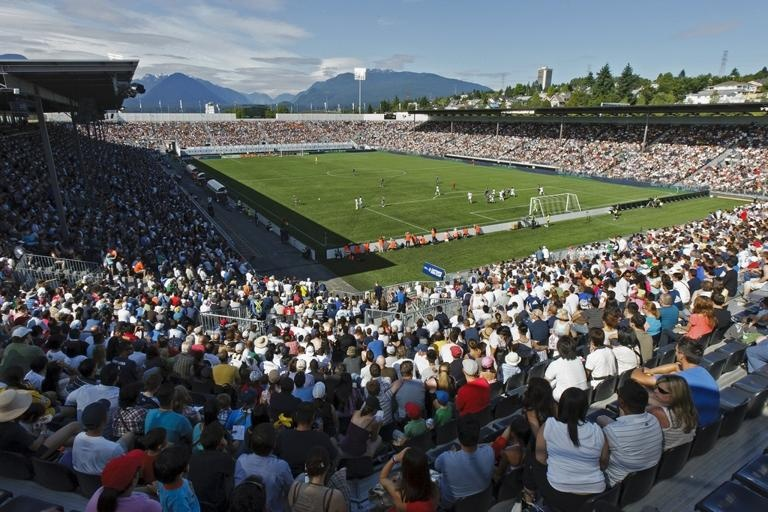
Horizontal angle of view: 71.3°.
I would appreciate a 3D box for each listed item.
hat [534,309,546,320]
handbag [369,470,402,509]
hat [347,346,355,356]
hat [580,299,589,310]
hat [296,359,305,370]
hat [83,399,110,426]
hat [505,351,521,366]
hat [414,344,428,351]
[{"bbox_3d":[4.894,1.852,16.895,0.257,0.271,0.346,-30,29,13],"label":"hat"},{"bbox_3d":[0.006,4.532,10.317,0.712,0.329,0.839,0,-1,24],"label":"handbag"},{"bbox_3d":[-0.914,2.649,14.800,0.219,0.228,0.284,-3,2,24],"label":"hat"},{"bbox_3d":[6.747,1.628,18.006,0.305,0.302,0.377,2,-7,9],"label":"hat"},{"bbox_3d":[-2.146,2.826,13.751,0.178,0.140,0.271,12,16,-2],"label":"hat"},{"bbox_3d":[-5.486,2.987,10.252,0.469,0.298,0.590,8,31,-5],"label":"hat"},{"bbox_3d":[3.308,2.687,13.674,0.400,0.118,0.369,-7,17,-11],"label":"hat"},{"bbox_3d":[1.107,2.741,15.759,0.399,0.137,0.267,-4,2,-34],"label":"hat"}]
